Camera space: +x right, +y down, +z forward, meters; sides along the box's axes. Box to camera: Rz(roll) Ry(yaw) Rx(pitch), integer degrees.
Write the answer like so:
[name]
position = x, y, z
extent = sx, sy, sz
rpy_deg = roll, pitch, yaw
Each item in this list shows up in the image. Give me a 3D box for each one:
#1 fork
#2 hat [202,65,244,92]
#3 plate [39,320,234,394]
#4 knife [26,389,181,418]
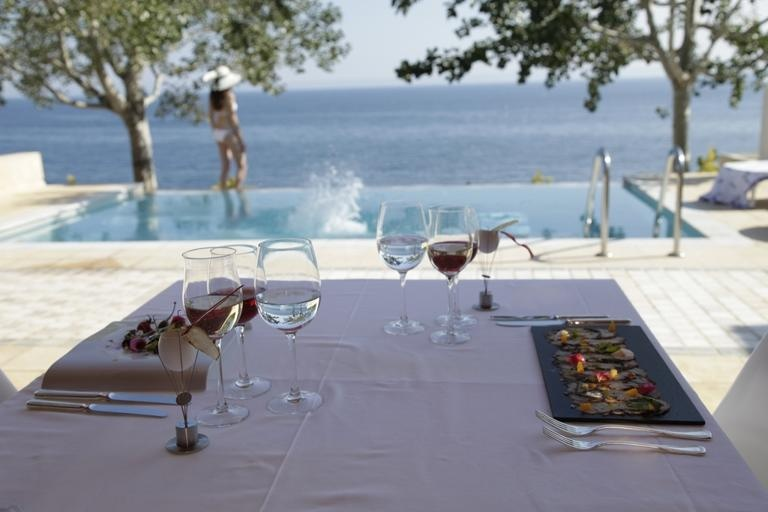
[fork]
position = 0.504, 0.375, 1.402
extent = 0.356, 0.050, 0.076
rpy_deg = 1, 18, 9
[hat]
position = -2.273, -2.507, 9.389
extent = 0.448, 0.318, 0.699
rpy_deg = -8, 19, -16
[plate]
position = -0.642, 0.252, 1.725
extent = 0.271, 0.138, 0.455
rpy_deg = 1, -1, 22
[knife]
position = -0.644, 0.340, 1.543
extent = 0.248, 0.021, 0.061
rpy_deg = 2, 24, 2
